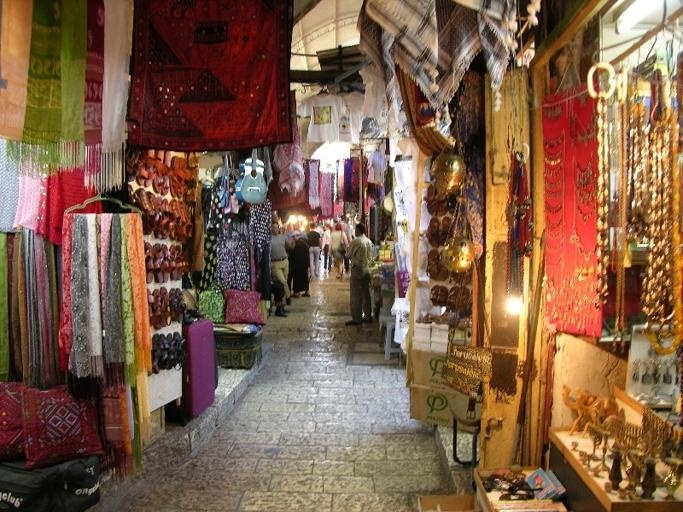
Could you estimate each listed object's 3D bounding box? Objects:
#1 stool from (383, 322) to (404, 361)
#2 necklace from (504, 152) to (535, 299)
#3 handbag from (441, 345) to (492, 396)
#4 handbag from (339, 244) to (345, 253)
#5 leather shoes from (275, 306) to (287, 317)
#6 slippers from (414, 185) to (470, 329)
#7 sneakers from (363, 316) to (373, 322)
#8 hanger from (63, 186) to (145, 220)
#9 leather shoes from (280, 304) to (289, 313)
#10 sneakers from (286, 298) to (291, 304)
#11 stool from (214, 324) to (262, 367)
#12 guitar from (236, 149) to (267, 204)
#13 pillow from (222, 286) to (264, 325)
[{"bbox_3d":[0.679,1.001,7.027,0.324,0.400,0.326,-1,-2,15],"label":"stool"},{"bbox_3d":[1.084,-0.195,3.473,0.137,0.890,0.289,-2,7,-15],"label":"necklace"},{"bbox_3d":[0.812,0.729,3.672,0.088,0.322,0.268,16,-10,-38],"label":"handbag"},{"bbox_3d":[0.028,-0.175,13.282,0.141,0.157,0.150,20,-34,28],"label":"handbag"},{"bbox_3d":[-1.024,0.938,9.830,0.276,0.242,0.109,-1,5,13],"label":"leather shoes"},{"bbox_3d":[0.754,-0.003,4.241,0.184,0.936,0.563,2,4,-20],"label":"slippers"},{"bbox_3d":[0.434,1.031,9.227,0.104,0.089,0.145,18,-9,-5],"label":"sneakers"},{"bbox_3d":[-1.649,-0.386,3.979,0.467,0.175,0.322,-4,8,-23],"label":"hanger"},{"bbox_3d":[-1.014,0.969,10.353,0.160,0.191,0.080,-7,40,-3],"label":"leather shoes"},{"bbox_3d":[-1.000,0.854,10.839,0.071,0.108,0.227,-1,-9,-3],"label":"sneakers"},{"bbox_3d":[-1.114,0.998,6.266,0.319,0.396,0.499,2,5,3],"label":"stool"},{"bbox_3d":[-0.849,-0.803,5.580,0.240,0.778,0.085,4,-34,-16],"label":"guitar"},{"bbox_3d":[-1.122,0.557,6.427,0.335,0.403,0.135,-1,-8,-1],"label":"pillow"}]
